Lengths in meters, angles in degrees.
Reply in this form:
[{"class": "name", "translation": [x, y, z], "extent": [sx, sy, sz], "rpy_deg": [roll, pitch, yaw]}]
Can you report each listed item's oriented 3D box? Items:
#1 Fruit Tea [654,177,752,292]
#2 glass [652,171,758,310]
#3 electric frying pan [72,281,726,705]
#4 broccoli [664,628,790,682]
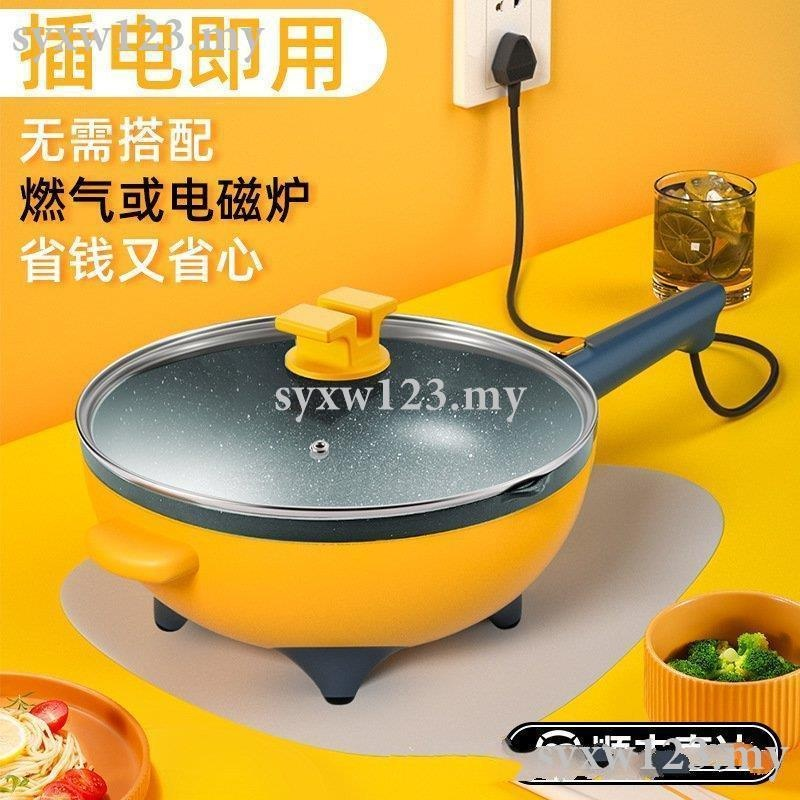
[{"class": "Fruit Tea", "translation": [0.346, -0.185, 0.969], "extent": [0.114, 0.145, 0.140], "rpy_deg": [6, 16, 19]}, {"class": "glass", "translation": [0.352, -0.175, 0.964], "extent": [0.122, 0.118, 0.114], "rpy_deg": [1, 24, 14]}, {"class": "electric frying pan", "translation": [0.020, 0.057, 0.538], "extent": [0.363, 0.123, 0.211], "rpy_deg": [-17, 32, -36]}, {"class": "broccoli", "translation": [0.173, 0.135, 0.443], "extent": [0.041, 0.012, 0.036], "rpy_deg": [-2, 8, 18]}]
